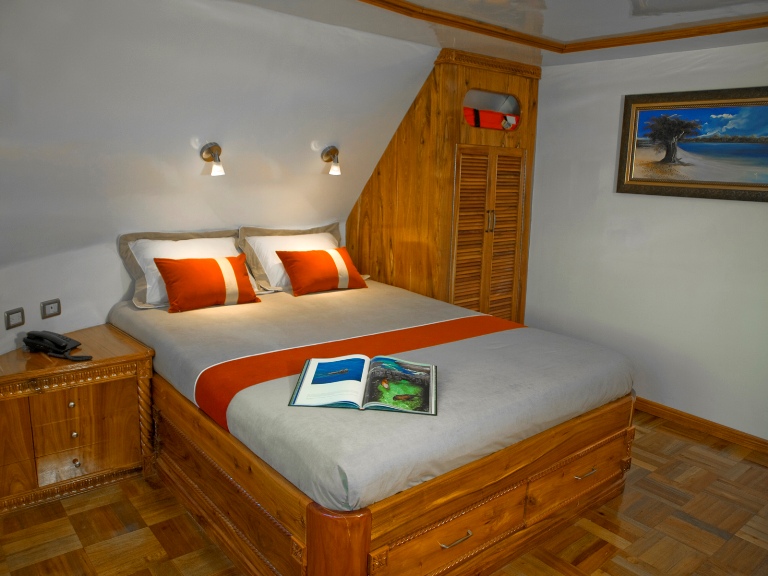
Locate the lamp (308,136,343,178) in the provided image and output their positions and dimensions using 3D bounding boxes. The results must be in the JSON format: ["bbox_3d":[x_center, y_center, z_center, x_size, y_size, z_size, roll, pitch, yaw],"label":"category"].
[{"bbox_3d":[-0.400,-0.919,3.716,0.261,0.253,0.164,-8,14,-28],"label":"lamp"}]

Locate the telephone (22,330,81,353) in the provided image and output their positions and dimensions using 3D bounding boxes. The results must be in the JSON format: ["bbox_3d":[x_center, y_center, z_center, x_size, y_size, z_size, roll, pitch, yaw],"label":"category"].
[{"bbox_3d":[-1.794,0.287,2.818,0.196,0.074,0.147,4,16,9],"label":"telephone"}]
